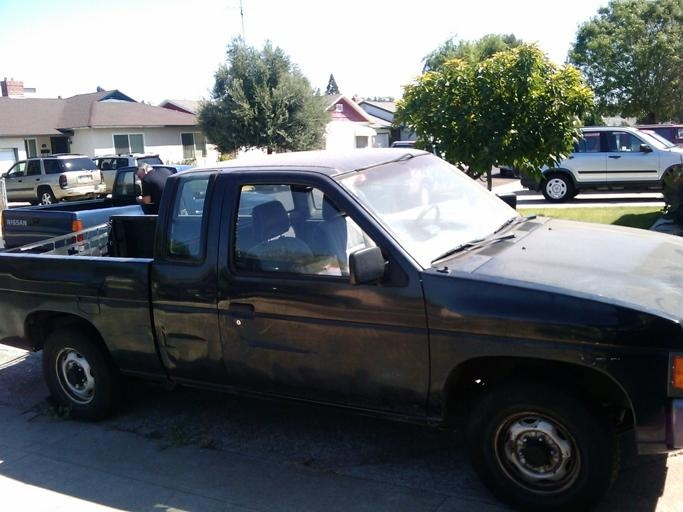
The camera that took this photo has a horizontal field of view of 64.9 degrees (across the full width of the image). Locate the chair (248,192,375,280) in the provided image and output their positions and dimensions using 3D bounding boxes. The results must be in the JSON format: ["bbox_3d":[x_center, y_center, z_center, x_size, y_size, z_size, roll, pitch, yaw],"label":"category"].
[{"bbox_3d":[-0.292,-0.132,4.145,0.767,0.475,0.770,15,11,39],"label":"chair"}]
